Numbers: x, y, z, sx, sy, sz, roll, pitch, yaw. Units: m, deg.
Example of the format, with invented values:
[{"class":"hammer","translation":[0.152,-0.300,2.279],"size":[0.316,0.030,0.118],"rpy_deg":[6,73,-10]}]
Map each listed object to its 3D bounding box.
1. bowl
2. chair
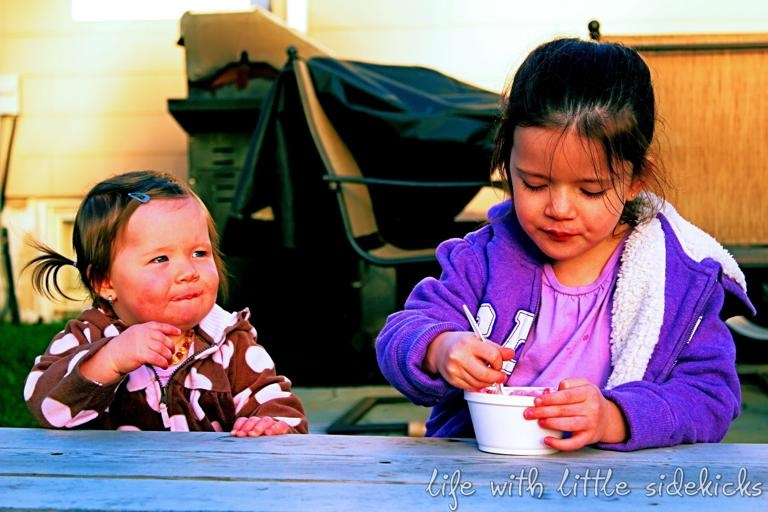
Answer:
[{"class":"bowl","translation":[0.346,0.475,2.616],"size":[0.212,0.114,0.206],"rpy_deg":[0,-8,0]},{"class":"chair","translation":[-0.011,-0.355,3.998],"size":[0.938,1.164,0.833],"rpy_deg":[-6,-3,37]}]
